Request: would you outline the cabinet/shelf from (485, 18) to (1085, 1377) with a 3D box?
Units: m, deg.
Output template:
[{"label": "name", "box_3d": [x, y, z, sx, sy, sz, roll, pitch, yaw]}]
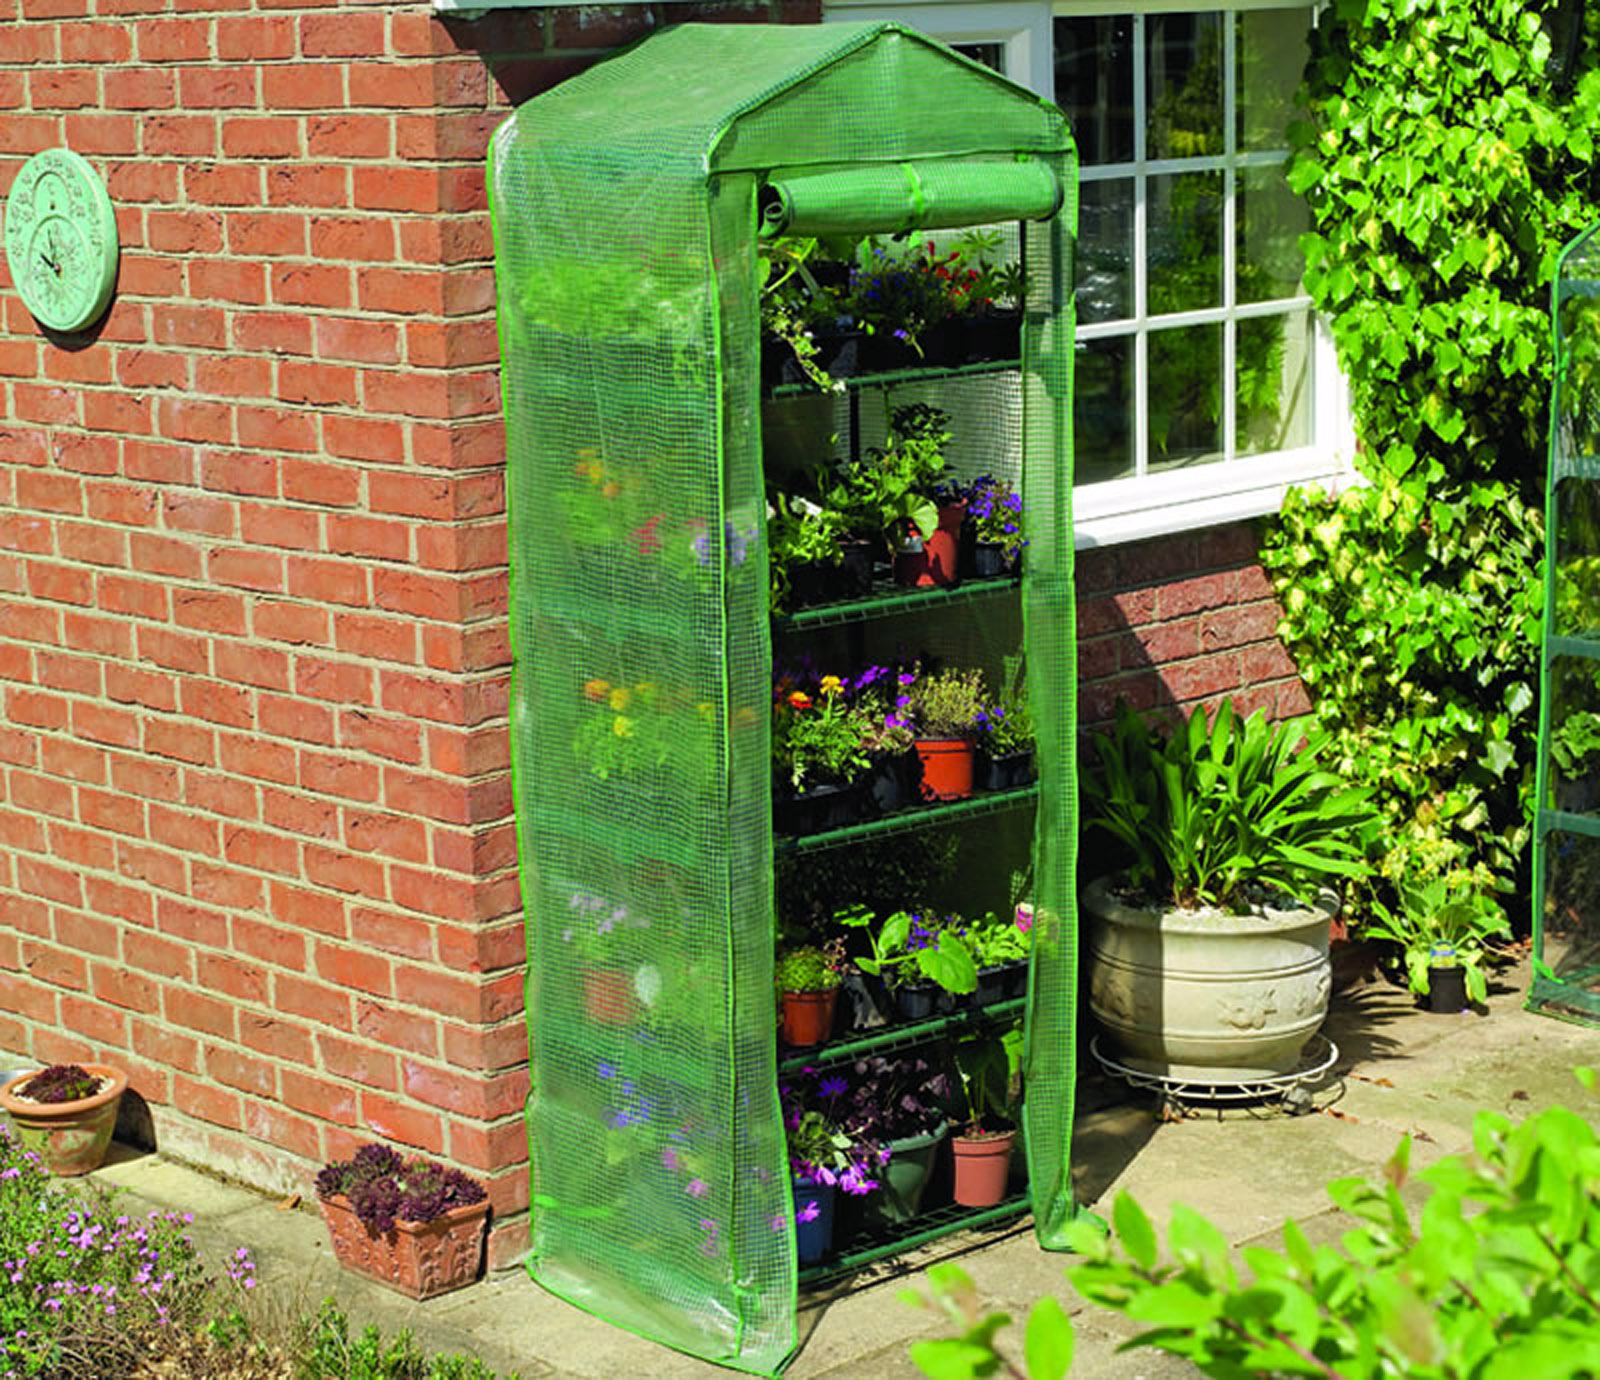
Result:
[{"label": "cabinet/shelf", "box_3d": [-0.001, -0.069, 4.257, 0.876, 2.727, 1.211, 7, 16, 42]}]

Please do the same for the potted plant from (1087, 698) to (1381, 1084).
[{"label": "potted plant", "box_3d": [1.157, 0.548, 5.198, 0.756, 0.964, 0.679, 0, 12, 16]}]

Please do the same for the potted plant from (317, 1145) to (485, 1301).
[{"label": "potted plant", "box_3d": [-0.882, 1.203, 4.418, 0.291, 0.238, 0.391, -2, 0, -41]}]

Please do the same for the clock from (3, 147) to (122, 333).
[{"label": "clock", "box_3d": [-1.851, -1.146, 4.881, 0.514, 0.529, 0.080, 4, 6, 42]}]
